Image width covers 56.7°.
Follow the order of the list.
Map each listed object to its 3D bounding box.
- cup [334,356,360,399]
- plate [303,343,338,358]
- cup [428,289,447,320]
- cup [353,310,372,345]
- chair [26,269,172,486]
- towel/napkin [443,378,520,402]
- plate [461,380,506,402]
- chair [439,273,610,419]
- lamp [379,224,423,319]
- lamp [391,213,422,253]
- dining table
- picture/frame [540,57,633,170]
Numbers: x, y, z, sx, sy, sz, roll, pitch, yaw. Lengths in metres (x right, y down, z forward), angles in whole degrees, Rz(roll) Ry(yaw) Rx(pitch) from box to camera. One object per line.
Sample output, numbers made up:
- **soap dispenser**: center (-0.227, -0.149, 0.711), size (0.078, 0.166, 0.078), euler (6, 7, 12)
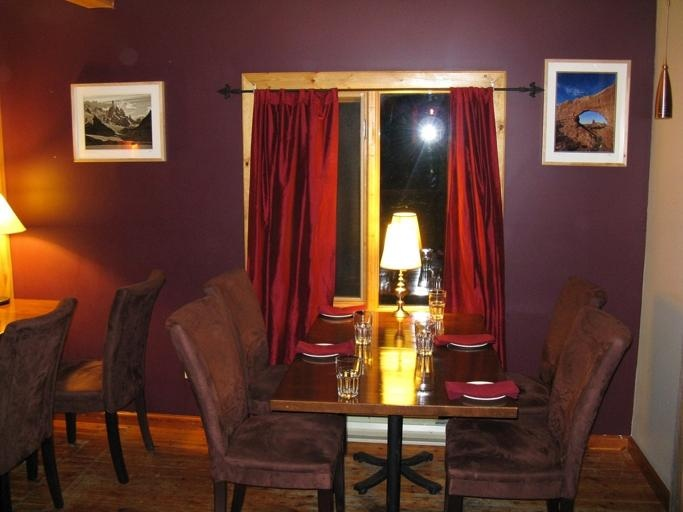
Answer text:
- **cup**: center (0.035, 0.611, 3.212), size (0.163, 0.276, 0.177), euler (0, -1, 0)
- **plate**: center (-0.127, 0.543, 3.662), size (0.137, 0.026, 0.100), euler (3, 15, 4)
- **cup**: center (0.617, 0.321, 4.187), size (0.157, 0.263, 0.168), euler (0, 1, 0)
- **cup**: center (0.129, 0.430, 3.806), size (0.152, 0.273, 0.166), euler (0, 2, 0)
- **chair**: center (-1.641, 0.799, 4.308), size (0.766, 1.311, 0.777), euler (0, 8, -10)
- **towel/napkin**: center (0.713, 0.681, 3.226), size (0.251, 0.049, 0.154), euler (0, 6, 1)
- **plate**: center (0.734, 0.691, 3.264), size (0.213, 0.065, 0.192), euler (4, 3, 7)
- **chair**: center (1.274, 0.633, 4.263), size (0.505, 0.902, 0.497), euler (7, 5, 10)
- **lamp**: center (0.403, 0.054, 4.304), size (0.243, 0.706, 0.552), euler (3, 3, 6)
- **lamp**: center (0.455, -0.168, 4.214), size (0.227, 0.283, 0.252), euler (-1, 7, 11)
- **dining table**: center (0.309, 0.921, 3.849), size (1.003, 0.817, 1.258), euler (1, 20, 7)
- **picture/frame**: center (1.724, -1.033, 4.410), size (0.669, 0.943, 0.048), euler (1, 6, 4)
